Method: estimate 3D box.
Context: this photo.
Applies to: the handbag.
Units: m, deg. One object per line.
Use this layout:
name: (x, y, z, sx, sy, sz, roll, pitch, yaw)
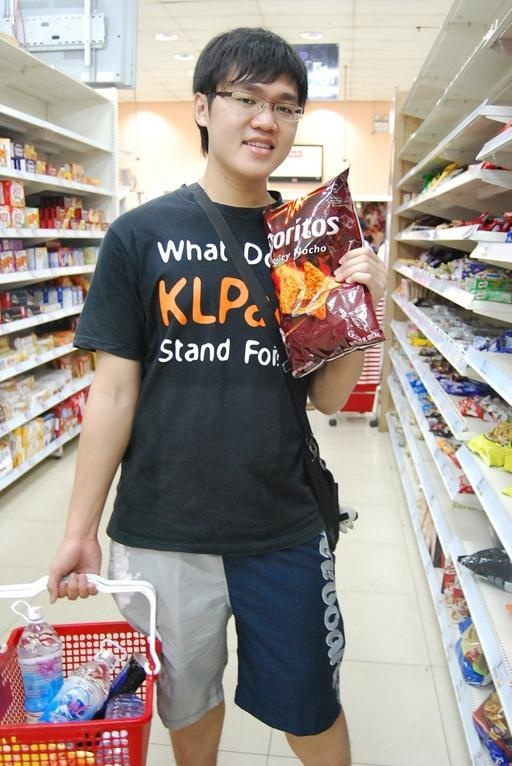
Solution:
handbag: (0.106, 0.209, 1.047, 0.084, 0.204, 0.107, -2, 16, -3)
